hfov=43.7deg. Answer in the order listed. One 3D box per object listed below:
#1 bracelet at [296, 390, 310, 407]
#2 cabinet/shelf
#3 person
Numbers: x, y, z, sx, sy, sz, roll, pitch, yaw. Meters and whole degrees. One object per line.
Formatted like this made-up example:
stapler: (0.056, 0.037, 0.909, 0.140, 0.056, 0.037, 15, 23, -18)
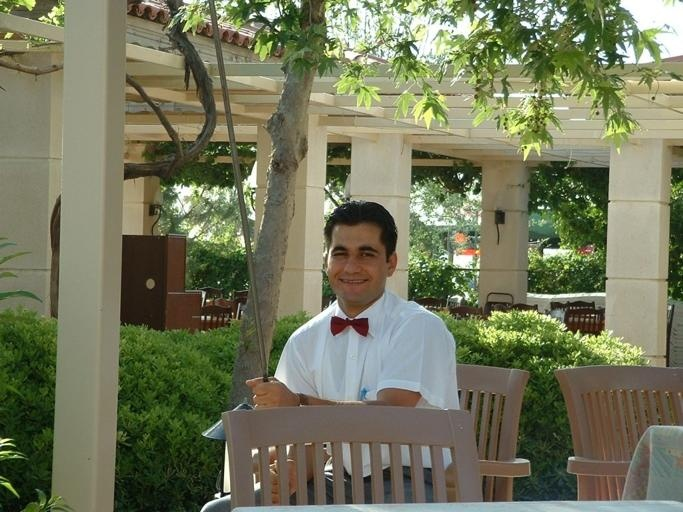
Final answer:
bracelet: (-0.145, 0.544, 3.214, 0.050, 0.041, 0.073, 2, 0, -5)
cabinet/shelf: (-1.568, 0.234, 7.451, 0.692, 0.844, 0.414, 3, -5, -15)
person: (0.083, 0.371, 3.400, 0.772, 1.238, 0.603, 1, -5, 7)
